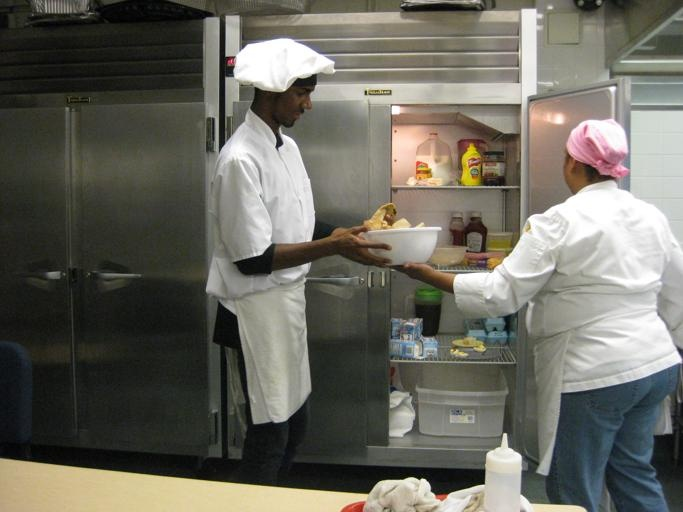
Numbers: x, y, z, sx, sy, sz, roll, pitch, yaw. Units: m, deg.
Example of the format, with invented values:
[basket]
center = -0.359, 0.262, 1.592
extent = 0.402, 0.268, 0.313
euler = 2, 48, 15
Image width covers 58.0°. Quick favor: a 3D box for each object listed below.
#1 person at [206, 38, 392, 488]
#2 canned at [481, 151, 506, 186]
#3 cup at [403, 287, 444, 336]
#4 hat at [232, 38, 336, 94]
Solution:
[person]
center = -0.218, 0.030, 2.293
extent = 0.559, 1.608, 0.303
euler = -1, 4, -13
[canned]
center = 0.823, -0.462, 3.334
extent = 0.167, 0.221, 0.168
euler = 1, 0, 9
[cup]
center = 0.474, 0.317, 3.586
extent = 0.309, 0.318, 0.239
euler = 0, -2, -4
[hat]
center = -0.216, -0.627, 2.170
extent = 0.262, 0.086, 0.222
euler = 1, 34, 21
